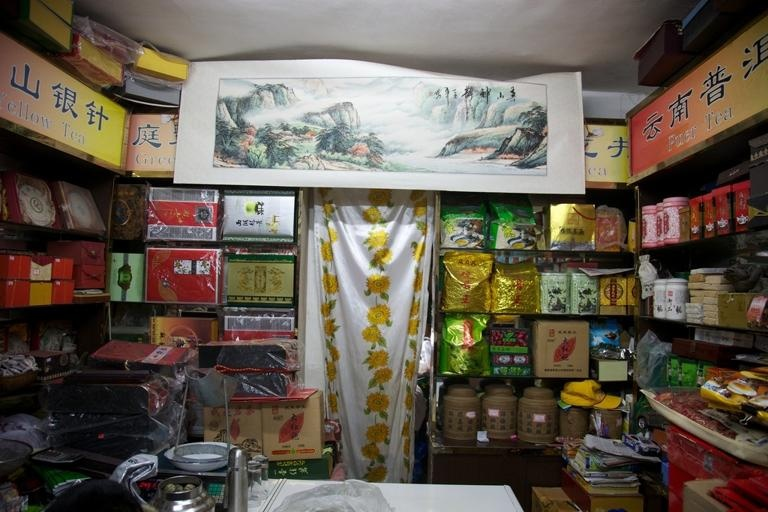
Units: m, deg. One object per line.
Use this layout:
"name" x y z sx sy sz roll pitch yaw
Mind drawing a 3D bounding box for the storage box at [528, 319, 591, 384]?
"storage box" 1.442 0.762 4.569 0.462 0.462 0.445 -1 3 -1

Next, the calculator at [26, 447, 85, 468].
"calculator" -1.883 1.145 3.154 0.184 0.037 0.112 3 2 2

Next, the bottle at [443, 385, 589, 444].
"bottle" 1.107 1.283 4.485 0.719 0.350 0.379 1 -2 17

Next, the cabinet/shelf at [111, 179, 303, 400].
"cabinet/shelf" -1.348 0.254 4.009 1.656 1.517 0.394 2 2 1

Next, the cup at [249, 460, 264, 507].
"cup" -0.745 1.299 3.182 0.088 0.244 0.156 2 -4 -11

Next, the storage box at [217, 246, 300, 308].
"storage box" -1.039 0.181 4.613 0.780 0.576 0.401 1 -1 2

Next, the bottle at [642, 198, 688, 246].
"bottle" 2.148 -0.253 4.170 0.197 0.294 0.341 5 -5 -5

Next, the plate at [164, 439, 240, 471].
"plate" -1.097 1.166 3.224 0.324 0.066 0.318 1 -4 -7

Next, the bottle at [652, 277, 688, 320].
"bottle" 2.148 0.319 4.127 0.077 0.304 0.253 3 -5 -29

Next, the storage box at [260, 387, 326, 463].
"storage box" -0.626 1.218 4.055 0.439 0.460 0.449 0 -8 0
